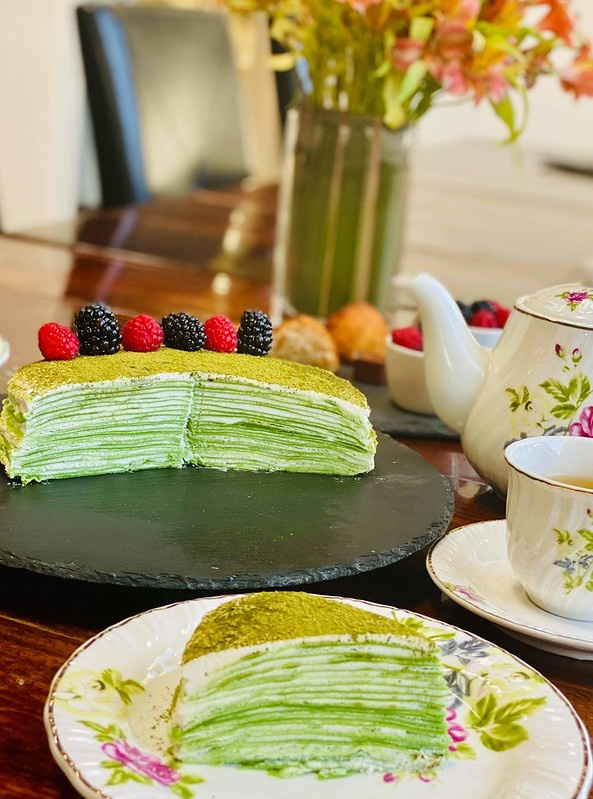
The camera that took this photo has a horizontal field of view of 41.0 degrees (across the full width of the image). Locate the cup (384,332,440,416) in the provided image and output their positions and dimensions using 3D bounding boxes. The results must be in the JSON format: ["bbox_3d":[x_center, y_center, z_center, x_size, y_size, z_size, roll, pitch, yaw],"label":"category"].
[{"bbox_3d":[0.210,-0.040,1.498,0.130,0.106,0.138,3,16,-1],"label":"cup"}]

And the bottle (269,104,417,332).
[{"bbox_3d":[0.033,-0.408,1.867,0.423,0.486,0.389,6,0,0],"label":"bottle"}]

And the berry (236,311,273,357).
[{"bbox_3d":[-0.080,-0.119,1.443,0.073,0.079,0.041,0,5,6],"label":"berry"}]

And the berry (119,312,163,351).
[{"bbox_3d":[-0.274,-0.114,1.373,0.075,0.067,0.066,-1,8,-20],"label":"berry"}]

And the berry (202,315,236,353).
[{"bbox_3d":[-0.139,-0.116,1.446,0.061,0.066,0.054,-5,35,-1],"label":"berry"}]

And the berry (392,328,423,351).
[{"bbox_3d":[0.223,-0.118,1.542,0.055,0.019,0.059,3,11,0],"label":"berry"}]

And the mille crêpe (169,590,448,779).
[{"bbox_3d":[0.002,0.227,0.628,0.230,0.100,0.121,5,2,-15],"label":"mille crêpe"}]

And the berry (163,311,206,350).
[{"bbox_3d":[-0.201,-0.118,1.411,0.066,0.047,0.074,3,4,-1],"label":"berry"}]

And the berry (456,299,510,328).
[{"bbox_3d":[0.373,-0.168,1.566,0.115,0.040,0.091,8,2,35],"label":"berry"}]
